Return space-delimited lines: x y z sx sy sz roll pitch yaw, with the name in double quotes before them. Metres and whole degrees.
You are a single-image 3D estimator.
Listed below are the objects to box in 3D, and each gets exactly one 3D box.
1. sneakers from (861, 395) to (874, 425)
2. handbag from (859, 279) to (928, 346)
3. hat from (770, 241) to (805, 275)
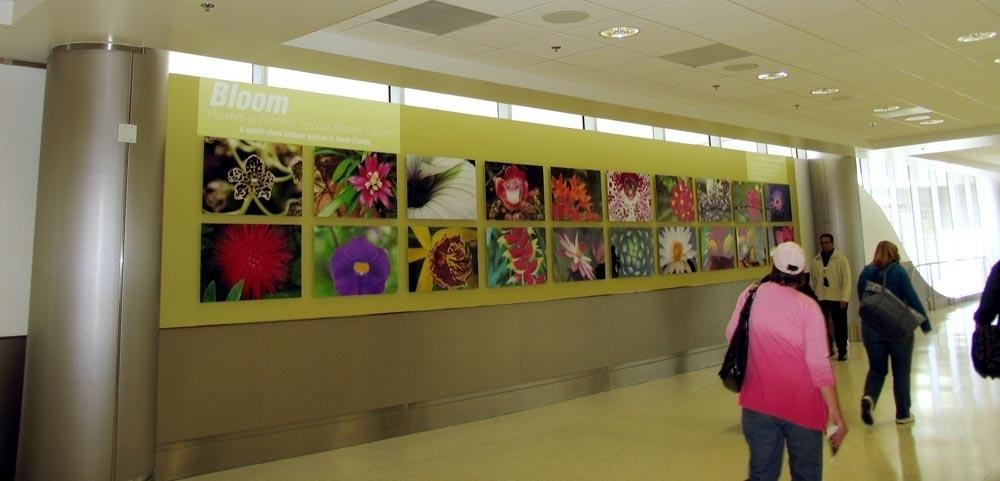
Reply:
"sneakers" 6.320 2.909 10.021 0.232 0.502 0.226 -7 -9 37
"handbag" 6.634 1.033 9.582 0.398 0.794 1.092 -8 8 -22
"hat" 3.826 0.222 7.638 0.493 0.219 0.647 -8 2 21
